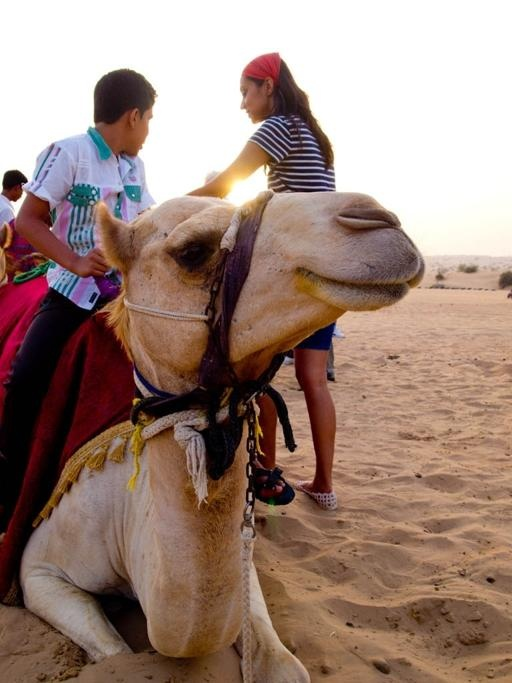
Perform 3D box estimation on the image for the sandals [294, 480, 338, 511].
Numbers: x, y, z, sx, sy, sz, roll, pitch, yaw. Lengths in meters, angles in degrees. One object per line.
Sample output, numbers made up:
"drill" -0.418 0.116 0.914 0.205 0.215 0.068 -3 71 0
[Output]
"sandals" 0.416 1.035 4.274 0.110 0.121 0.330 -15 31 -33
